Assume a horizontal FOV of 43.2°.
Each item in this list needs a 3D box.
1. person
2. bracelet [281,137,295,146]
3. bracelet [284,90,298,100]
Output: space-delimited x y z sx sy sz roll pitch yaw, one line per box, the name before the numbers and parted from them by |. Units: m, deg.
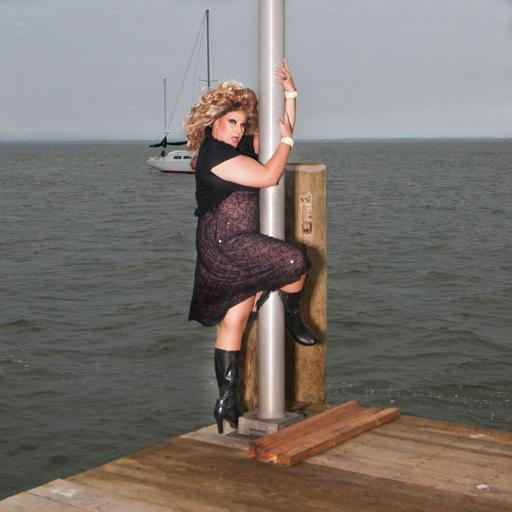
person | -0.034 -0.025 3.471 0.672 1.959 0.586 -4 14 -11
bracelet | 0.160 -0.575 3.254 0.057 0.052 0.072 0 12 5
bracelet | 0.180 -0.834 3.358 0.063 0.049 0.041 -3 12 -8
